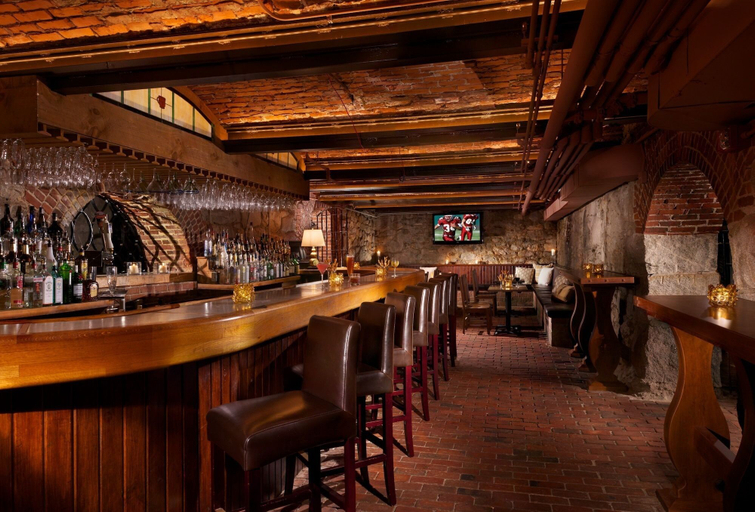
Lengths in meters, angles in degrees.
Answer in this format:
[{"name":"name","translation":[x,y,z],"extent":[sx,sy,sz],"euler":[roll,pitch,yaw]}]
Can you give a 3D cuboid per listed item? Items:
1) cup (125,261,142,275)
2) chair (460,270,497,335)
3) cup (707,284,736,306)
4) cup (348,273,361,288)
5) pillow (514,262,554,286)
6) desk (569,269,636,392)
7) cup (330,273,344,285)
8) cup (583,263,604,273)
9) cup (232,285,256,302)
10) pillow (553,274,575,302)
[{"name":"cup","translation":[-3.158,0.168,7.161],"extent":[0.205,0.194,0.200],"euler":[3,4,0]},{"name":"chair","translation":[2.065,0.982,11.401],"extent":[0.445,0.829,1.092],"euler":[-1,2,7]},{"name":"cup","translation":[2.481,0.279,4.004],"extent":[0.175,0.145,0.198],"euler":[4,9,30]},{"name":"cup","translation":[-0.279,0.283,6.261],"extent":[0.175,0.164,0.102],"euler":[2,0,2]},{"name":"pillow","translation":[4.022,0.420,14.212],"extent":[0.792,0.772,0.292],"euler":[9,-38,21]},{"name":"desk","translation":[2.787,0.935,6.829],"extent":[0.536,1.179,1.397],"euler":[0,-2,13]},{"name":"cup","translation":[-0.416,0.246,5.804],"extent":[0.125,0.136,0.123],"euler":[-11,5,1]},{"name":"cup","translation":[2.707,0.156,6.948],"extent":[0.160,0.102,0.161],"euler":[0,2,0]},{"name":"cup","translation":[-1.047,0.284,4.307],"extent":[0.163,0.124,0.149],"euler":[3,1,0]},{"name":"pillow","translation":[3.316,0.578,9.889],"extent":[0.240,0.192,1.003],"euler":[-18,-5,9]}]
